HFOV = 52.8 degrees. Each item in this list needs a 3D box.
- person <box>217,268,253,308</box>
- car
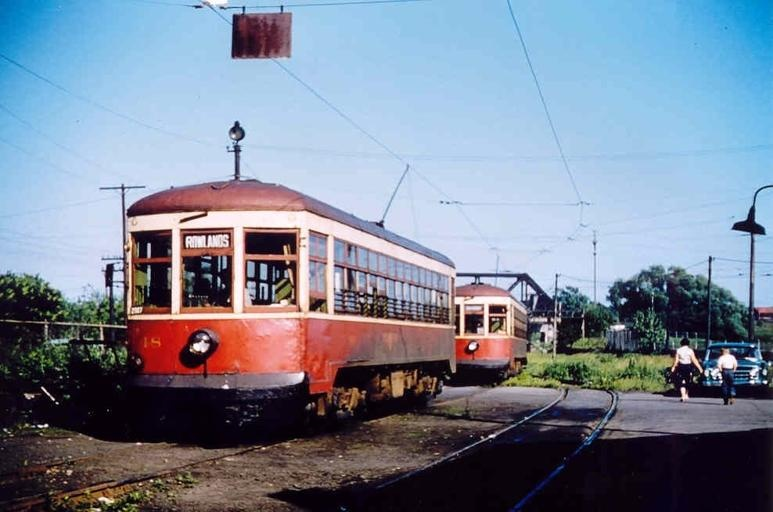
[{"bbox_3d":[-2.887,0.576,14.464,0.422,0.793,0.175,0,1,9],"label":"person"},{"bbox_3d":[12.125,3.818,27.185,1.568,1.249,2.844,-2,-12,11],"label":"car"}]
